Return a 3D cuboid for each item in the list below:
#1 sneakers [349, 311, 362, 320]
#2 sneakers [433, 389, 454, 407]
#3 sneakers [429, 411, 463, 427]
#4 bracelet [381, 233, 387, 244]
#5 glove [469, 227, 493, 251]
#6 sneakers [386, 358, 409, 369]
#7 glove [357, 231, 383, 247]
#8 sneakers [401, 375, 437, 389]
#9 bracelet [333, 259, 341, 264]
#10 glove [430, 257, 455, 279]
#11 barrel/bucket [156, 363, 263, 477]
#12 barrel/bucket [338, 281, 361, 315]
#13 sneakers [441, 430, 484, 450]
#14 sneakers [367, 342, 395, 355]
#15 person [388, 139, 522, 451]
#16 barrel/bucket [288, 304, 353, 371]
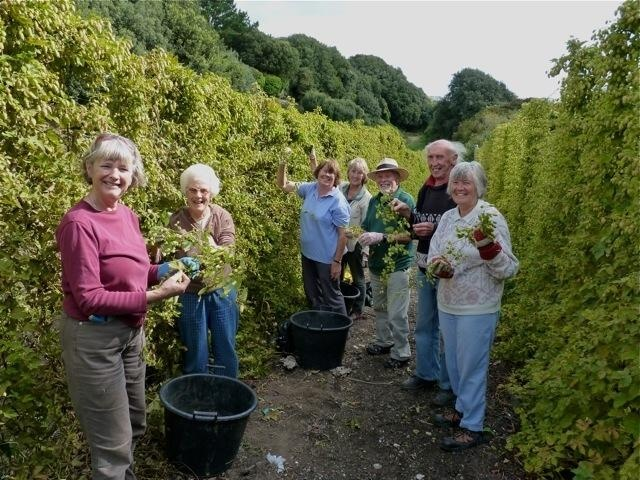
[{"bbox_3d":[0.561,1.161,7.408,0.263,0.109,0.087,6,-6,-42],"label":"sneakers"},{"bbox_3d":[1.268,1.616,4.994,0.271,0.122,0.103,1,0,-35],"label":"sneakers"},{"bbox_3d":[1.220,1.710,4.700,0.285,0.120,0.112,8,17,7],"label":"sneakers"},{"bbox_3d":[0.698,-0.021,5.437,0.068,0.101,0.093,3,-1,-3],"label":"bracelet"},{"bbox_3d":[1.315,-0.029,4.011,0.145,0.162,0.171,-31,9,27],"label":"glove"},{"bbox_3d":[0.904,1.475,5.864,0.307,0.128,0.111,7,26,-12],"label":"sneakers"},{"bbox_3d":[0.566,-0.014,5.386,0.199,0.086,0.153,-4,9,-22],"label":"glove"},{"bbox_3d":[1.079,1.547,5.380,0.377,0.171,0.147,5,11,-2],"label":"sneakers"},{"bbox_3d":[0.186,0.254,5.857,0.094,0.047,0.056,7,10,26],"label":"bracelet"},{"bbox_3d":[1.087,0.246,4.326,0.159,0.180,0.203,4,-5,30],"label":"glove"},{"bbox_3d":[-0.929,1.466,4.171,0.762,0.550,0.813,10,7,-1],"label":"barrel/bucket"},{"bbox_3d":[0.422,0.890,7.121,0.412,0.320,0.427,6,22,-2],"label":"barrel/bucket"},{"bbox_3d":[1.242,1.756,4.344,0.423,0.165,0.152,-3,17,0],"label":"sneakers"},{"bbox_3d":[0.788,1.407,6.283,0.349,0.159,0.125,18,4,-6],"label":"sneakers"},{"bbox_3d":[1.297,0.557,4.411,0.573,2.510,0.816,-2,11,-25],"label":"person"},{"bbox_3d":[-0.009,1.148,5.797,0.719,0.527,0.692,2,-9,0],"label":"barrel/bucket"}]
